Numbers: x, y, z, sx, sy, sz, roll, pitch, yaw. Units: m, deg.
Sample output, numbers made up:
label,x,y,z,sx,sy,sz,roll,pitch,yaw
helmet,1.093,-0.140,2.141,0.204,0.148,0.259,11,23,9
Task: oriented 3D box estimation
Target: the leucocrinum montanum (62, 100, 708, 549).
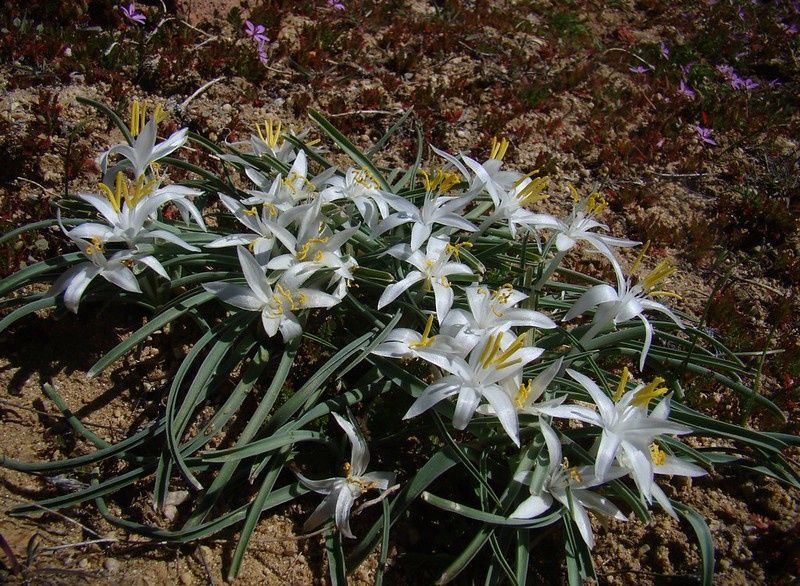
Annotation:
label,x,y,z,sx,sy,sz,roll,pitch,yaw
leucocrinum montanum,-0.140,0.236,3.639,3.014,2.217,0.879,17,-6,6
